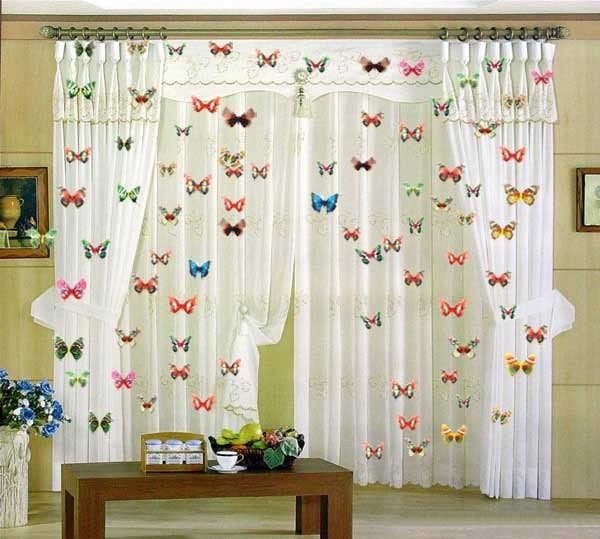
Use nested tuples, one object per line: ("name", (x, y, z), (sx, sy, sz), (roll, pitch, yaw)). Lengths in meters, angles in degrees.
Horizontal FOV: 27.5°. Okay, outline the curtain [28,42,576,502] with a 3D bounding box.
("curtain", (-0.024, 0.052, 7.701), (2.598, 2.494, 0.242), (0, 1, -2))
